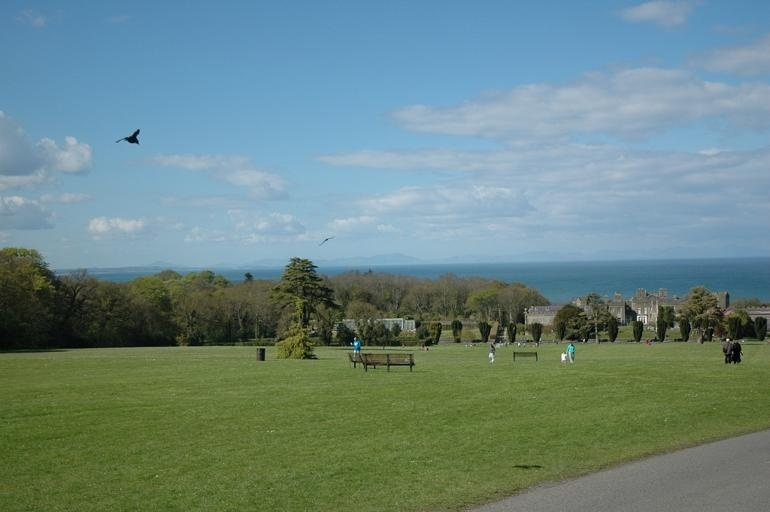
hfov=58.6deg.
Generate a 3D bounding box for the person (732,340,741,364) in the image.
[{"bbox_3d":[25.967,7.110,50.438,0.584,1.715,1.600,0,0,25],"label":"person"}]
